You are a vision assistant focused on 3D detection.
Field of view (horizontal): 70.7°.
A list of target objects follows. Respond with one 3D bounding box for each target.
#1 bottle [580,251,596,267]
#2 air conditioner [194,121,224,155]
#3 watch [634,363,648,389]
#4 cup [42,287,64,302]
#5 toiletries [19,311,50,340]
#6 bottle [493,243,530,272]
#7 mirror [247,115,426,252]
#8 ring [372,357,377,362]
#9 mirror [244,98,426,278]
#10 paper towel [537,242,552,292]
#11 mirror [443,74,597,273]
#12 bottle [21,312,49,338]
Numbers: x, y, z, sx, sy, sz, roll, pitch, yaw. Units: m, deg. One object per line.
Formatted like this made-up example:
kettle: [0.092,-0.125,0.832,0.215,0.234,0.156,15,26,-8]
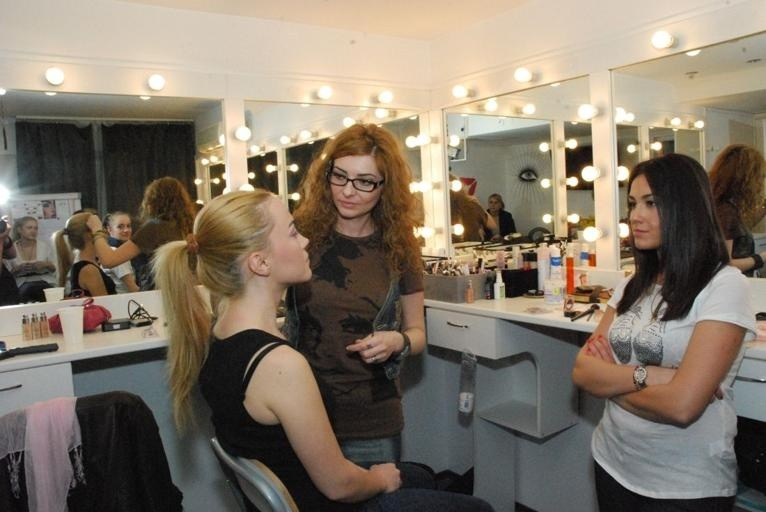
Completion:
bottle: [1.019,0.015,2.689,0.070,0.123,0.068,2,7,0]
air conditioner: [-0.898,-0.609,2.763,0.158,0.134,0.083,-9,10,-24]
watch: [0.769,0.361,1.619,0.021,0.057,0.056,4,32,8]
cup: [-1.551,0.182,2.550,0.067,0.049,0.067,-2,-10,0]
toiletries: [-1.582,0.319,2.445,0.122,0.168,0.054,-1,1,-29]
bottle: [0.675,0.014,2.857,0.129,0.122,0.123,0,3,-36]
mirror: [-0.235,-0.302,2.170,0.812,0.562,0.036,-2,2,-26]
ring: [-0.027,0.325,1.710,0.013,0.007,0.018,-8,-2,3]
mirror: [-0.236,-0.292,2.170,1.031,0.688,0.051,-2,2,-30]
paper towel: [0.823,0.067,2.759,0.071,0.270,0.067,-1,2,38]
mirror: [0.763,-0.458,2.910,1.110,1.122,0.092,3,9,43]
bottle: [-1.576,0.315,2.444,0.112,0.153,0.050,0,0,-30]
